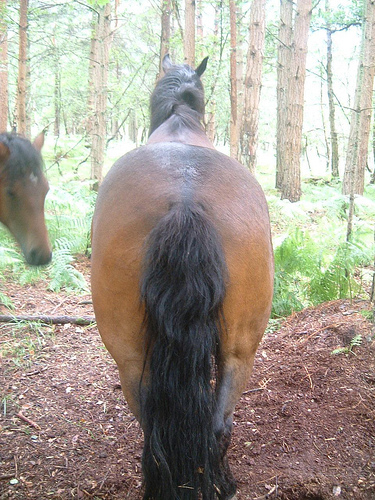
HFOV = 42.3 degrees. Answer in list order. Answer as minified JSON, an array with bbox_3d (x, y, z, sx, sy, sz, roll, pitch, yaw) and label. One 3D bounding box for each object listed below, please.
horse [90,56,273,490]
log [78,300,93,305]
[{"bbox_3d":[-0.062,0.352,2.676,1.017,1.853,0.588,4,8,8],"label":"horse"},{"bbox_3d":[-1.309,0.674,6.190,0.196,0.044,0.104,-6,8,-31],"label":"log"}]
